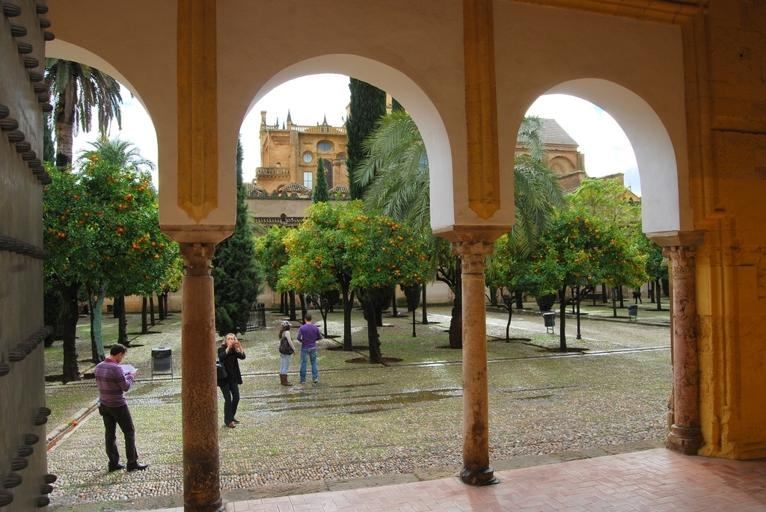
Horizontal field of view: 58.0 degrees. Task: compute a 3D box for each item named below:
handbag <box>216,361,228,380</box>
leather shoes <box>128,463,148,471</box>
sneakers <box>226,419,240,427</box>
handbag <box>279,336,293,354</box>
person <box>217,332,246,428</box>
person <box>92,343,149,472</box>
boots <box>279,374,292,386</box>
[{"bbox_3d":[-2.694,1.914,11.474,0.173,0.291,0.196,0,-3,-43],"label":"handbag"},{"bbox_3d":[-3.389,2.925,9.582,0.281,0.126,0.094,-1,2,-16],"label":"leather shoes"},{"bbox_3d":[-2.444,2.766,11.386,0.071,0.095,0.229,4,5,40],"label":"sneakers"},{"bbox_3d":[-1.967,1.869,14.210,0.254,0.386,0.352,-2,-2,-11],"label":"handbag"},{"bbox_3d":[-2.576,2.078,11.778,0.424,1.500,1.009,-2,-2,-12],"label":"person"},{"bbox_3d":[-3.699,2.118,9.750,0.585,1.731,0.703,-1,-2,-21],"label":"person"},{"bbox_3d":[-1.971,2.591,14.473,0.331,0.308,0.160,0,1,-16],"label":"boots"}]
